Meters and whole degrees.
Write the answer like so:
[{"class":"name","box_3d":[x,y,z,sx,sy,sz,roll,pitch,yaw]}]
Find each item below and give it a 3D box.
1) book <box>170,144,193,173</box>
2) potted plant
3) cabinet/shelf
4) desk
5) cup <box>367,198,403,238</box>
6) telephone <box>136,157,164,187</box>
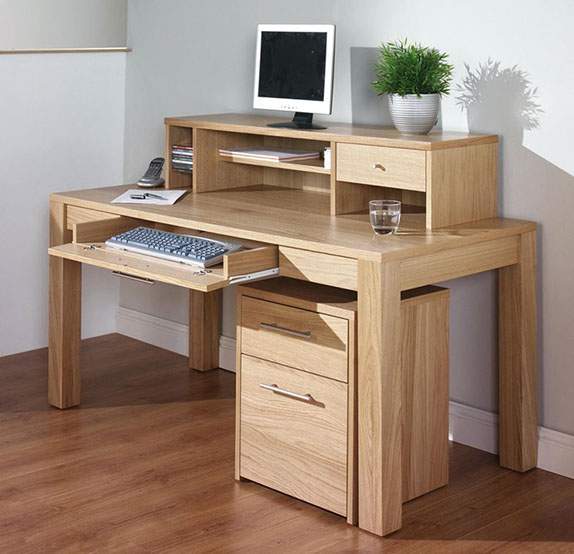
[{"class":"book","box_3d":[-0.413,-0.464,2.269,0.067,0.076,0.121,-8,16,-41]},{"class":"potted plant","box_3d":[0.384,-0.592,1.812,0.225,0.219,0.187,0,14,9]},{"class":"cabinet/shelf","box_3d":[0.169,0.329,1.718,0.492,0.553,0.484,-4,5,-40]},{"class":"desk","box_3d":[-0.126,-0.013,1.985,1.532,0.917,1.016,15,21,39]},{"class":"cup","box_3d":[0.267,-0.156,1.560,0.082,0.080,0.085,4,4,0]},{"class":"telephone","box_3d":[-0.552,-0.435,2.385,0.082,0.035,0.182,1,27,8]}]
